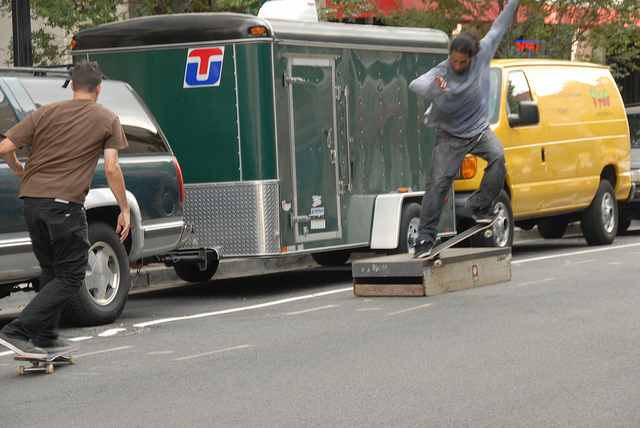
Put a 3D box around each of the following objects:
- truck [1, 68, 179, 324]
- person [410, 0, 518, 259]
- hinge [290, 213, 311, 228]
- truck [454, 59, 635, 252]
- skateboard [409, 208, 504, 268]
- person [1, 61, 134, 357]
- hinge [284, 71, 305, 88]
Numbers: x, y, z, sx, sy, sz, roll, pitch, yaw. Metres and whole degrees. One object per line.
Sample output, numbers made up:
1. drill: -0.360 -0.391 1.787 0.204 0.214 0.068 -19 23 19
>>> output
1. truck: -3.150 -0.264 7.999 1.560 2.137 2.871 -3 -6 34
2. person: 1.788 -1.030 8.911 1.356 2.939 0.820 -4 10 -3
3. hinge: -0.274 0.035 9.579 0.040 0.181 0.364 7 17 44
4. truck: 3.746 -1.101 13.632 4.333 3.152 2.688 4 -6 -42
5. skateboard: 1.903 0.331 9.821 1.003 0.186 0.208 -39 31 -23
6. person: -2.291 0.097 6.217 1.156 2.167 0.570 -8 11 -22
7. hinge: -0.354 -1.846 9.447 0.058 0.216 0.349 6 16 42
